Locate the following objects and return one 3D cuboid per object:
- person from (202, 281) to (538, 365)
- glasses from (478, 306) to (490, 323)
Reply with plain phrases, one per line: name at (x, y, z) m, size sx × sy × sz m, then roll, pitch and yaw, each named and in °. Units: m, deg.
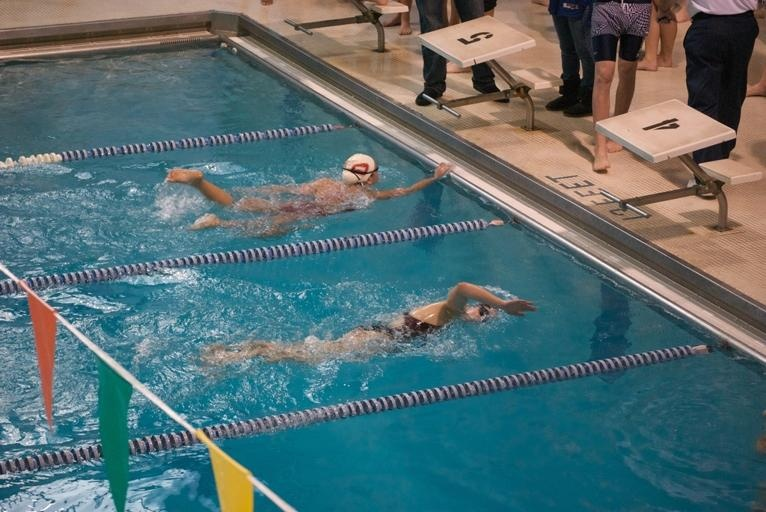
person at (-0.038, 0.283, 3.757) m, size 1.381 × 0.192 × 0.646 m, roll -2°, pitch 4°, yaw -15°
glasses at (0.560, 0.327, 3.903) m, size 0.103 × 0.077 × 0.078 m, roll -3°, pitch 5°, yaw 4°
